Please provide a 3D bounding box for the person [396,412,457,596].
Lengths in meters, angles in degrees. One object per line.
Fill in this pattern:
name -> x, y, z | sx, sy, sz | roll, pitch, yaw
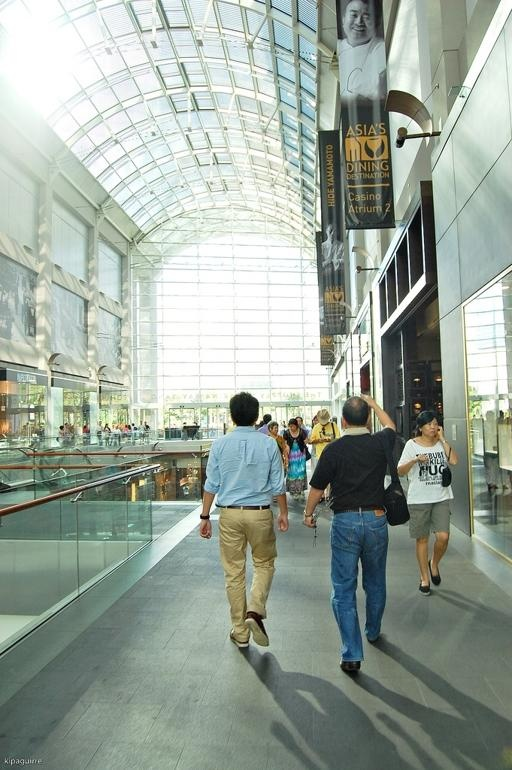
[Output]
person -> 1.404, 0.939, 4.530 | 0.427, 1.452, 0.868 | -3, -6, 19

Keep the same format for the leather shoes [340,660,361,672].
leather shoes -> 0.492, 1.479, 2.940 | 0.108, 0.067, 0.108 | -2, -6, 11

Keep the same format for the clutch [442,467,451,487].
clutch -> 1.524, 0.734, 4.471 | 0.033, 0.153, 0.081 | 4, 1, 17

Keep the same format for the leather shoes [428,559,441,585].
leather shoes -> 1.478, 1.532, 4.623 | 0.078, 0.229, 0.061 | -7, -8, -4

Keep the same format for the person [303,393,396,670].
person -> 0.566, 0.799, 3.191 | 0.575, 1.484, 0.399 | 3, -7, -31

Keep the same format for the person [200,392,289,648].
person -> -0.090, 0.822, 3.523 | 0.553, 1.565, 0.408 | 0, -6, 0
